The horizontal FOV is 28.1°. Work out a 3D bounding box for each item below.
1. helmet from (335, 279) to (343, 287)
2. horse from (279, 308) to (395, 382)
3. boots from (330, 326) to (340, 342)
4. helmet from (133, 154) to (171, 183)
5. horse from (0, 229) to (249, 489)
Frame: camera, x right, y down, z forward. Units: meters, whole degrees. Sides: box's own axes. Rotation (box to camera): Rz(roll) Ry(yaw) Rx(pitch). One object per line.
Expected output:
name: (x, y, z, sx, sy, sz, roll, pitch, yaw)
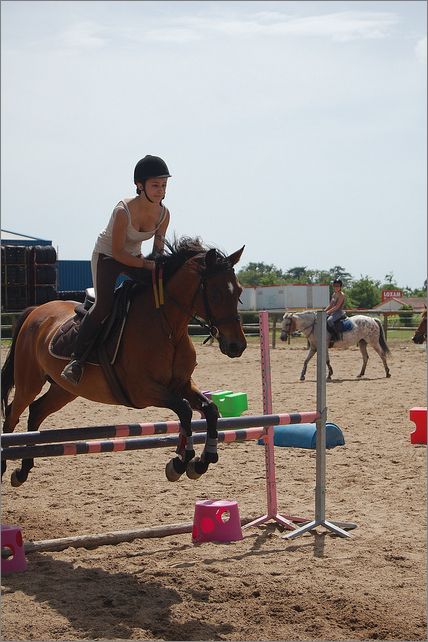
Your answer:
helmet: (2.092, -0.661, 14.326, 0.094, 0.120, 0.126, 0, -17, 5)
horse: (2.277, 0.434, 15.513, 1.991, 1.342, 0.532, -1, 1, -5)
boots: (2.160, 0.222, 15.230, 0.123, 0.383, 0.099, -16, -10, 30)
helmet: (-0.351, -0.882, 4.908, 0.219, 0.159, 0.139, 1, 0, 33)
horse: (-0.578, 0.209, 5.090, 0.513, 1.274, 2.037, 1, 0, -43)
